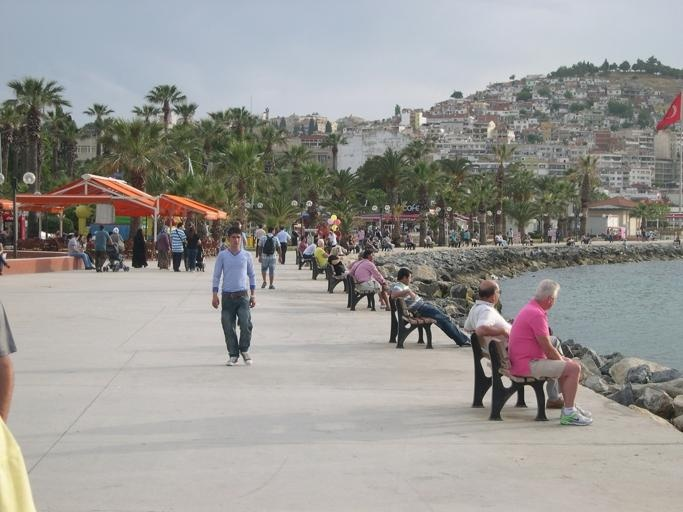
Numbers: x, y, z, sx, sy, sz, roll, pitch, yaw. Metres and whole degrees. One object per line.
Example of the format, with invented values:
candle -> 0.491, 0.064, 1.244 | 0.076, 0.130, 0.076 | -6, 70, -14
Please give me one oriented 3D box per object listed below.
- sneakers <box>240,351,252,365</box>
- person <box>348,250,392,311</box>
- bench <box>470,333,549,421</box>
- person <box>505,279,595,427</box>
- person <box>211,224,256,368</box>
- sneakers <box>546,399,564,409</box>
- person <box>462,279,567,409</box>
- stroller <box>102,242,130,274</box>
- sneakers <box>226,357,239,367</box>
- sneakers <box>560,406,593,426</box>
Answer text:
sneakers -> -1.354, 1.437, 14.552 | 0.086, 0.103, 0.245 | -8, 17, -24
person -> 0.562, 0.468, 21.208 | 0.849, 1.256, 1.046 | 2, 4, 8
bench -> 1.962, 1.432, 12.239 | 0.610, 0.853, 1.371 | -1, 1, -7
person -> 2.383, 1.073, 11.771 | 1.021, 1.582, 0.607 | 3, 4, 20
person -> -1.581, 0.524, 14.942 | 0.594, 1.931, 1.365 | 1, 4, -6
sneakers -> 2.544, 1.771, 12.190 | 0.216, 0.098, 0.078 | -4, 9, -37
person -> 2.173, 0.937, 12.996 | 1.470, 1.966, 1.009 | -3, 3, -22
stroller -> -7.519, 0.059, 33.859 | 0.713, 1.187, 0.974 | 1, -4, -17
sneakers -> -1.535, 1.478, 14.404 | 0.174, 0.114, 0.202 | 0, 4, -18
sneakers -> 2.619, 1.752, 11.488 | 0.218, 0.147, 0.268 | -1, 2, -4
